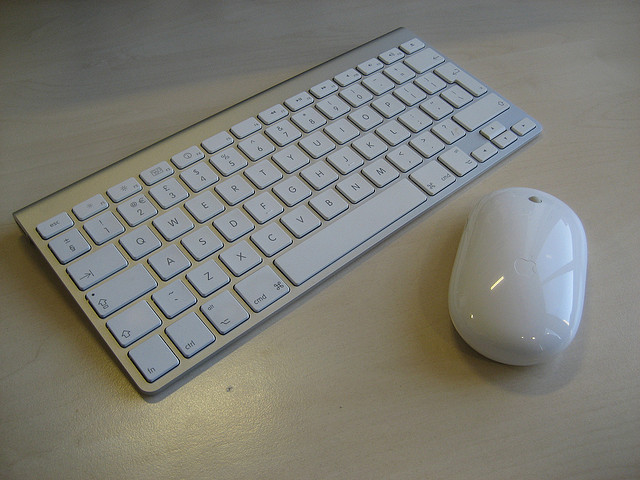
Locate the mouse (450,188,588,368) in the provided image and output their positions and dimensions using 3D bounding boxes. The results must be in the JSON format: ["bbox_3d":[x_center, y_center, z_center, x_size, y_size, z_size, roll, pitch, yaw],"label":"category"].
[{"bbox_3d":[0.190,0.023,0.517,0.124,0.053,0.177,7,66,14],"label":"mouse"}]
